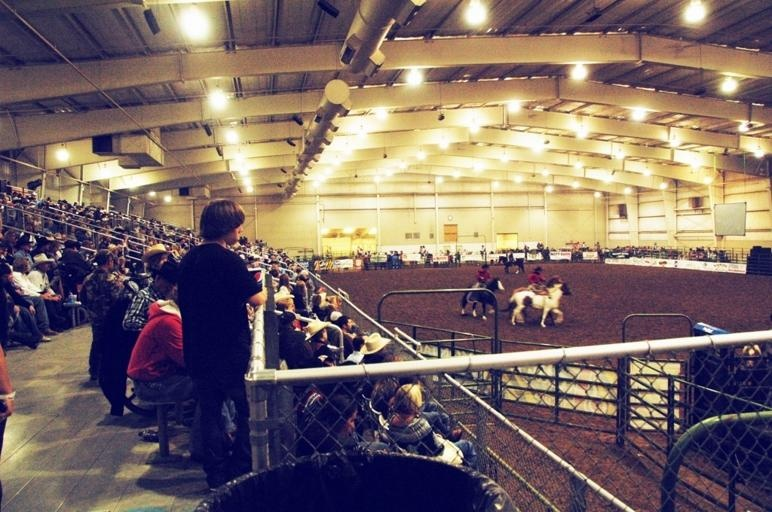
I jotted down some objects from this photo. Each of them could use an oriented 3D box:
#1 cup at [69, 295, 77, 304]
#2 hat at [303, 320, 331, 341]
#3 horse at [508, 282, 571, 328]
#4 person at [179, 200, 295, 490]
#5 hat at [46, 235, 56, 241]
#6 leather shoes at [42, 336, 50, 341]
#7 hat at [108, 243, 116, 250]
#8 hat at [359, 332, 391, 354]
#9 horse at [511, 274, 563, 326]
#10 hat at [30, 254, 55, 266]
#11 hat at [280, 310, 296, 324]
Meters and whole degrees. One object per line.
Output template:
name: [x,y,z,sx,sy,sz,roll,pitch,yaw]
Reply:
cup: [-7.686,1.084,14.885,0.193,0.211,0.197,-2,-4,0]
hat: [-1.159,1.291,10.255,0.330,0.116,0.305,-35,0,8]
horse: [4.995,1.509,18.973,1.861,1.415,0.656,2,3,40]
person: [-2.347,1.252,8.575,1.106,4.000,0.390,-2,0,-9]
hat: [-9.913,-0.534,17.841,0.240,0.142,0.313,1,1,-26]
leather shoes: [-7.742,1.912,13.769,0.136,0.072,0.164,-2,8,-37]
hat: [-7.182,-0.238,15.835,0.192,0.140,0.215,-2,3,1]
hat: [-0.202,1.534,10.318,0.368,0.129,0.326,-18,15,4]
horse: [4.842,1.468,19.008,1.954,1.526,0.729,4,-3,27]
hat: [-8.531,0.114,14.913,0.346,0.128,0.314,-11,-4,28]
hat: [-1.687,1.073,10.432,0.192,0.152,0.213,14,28,21]
